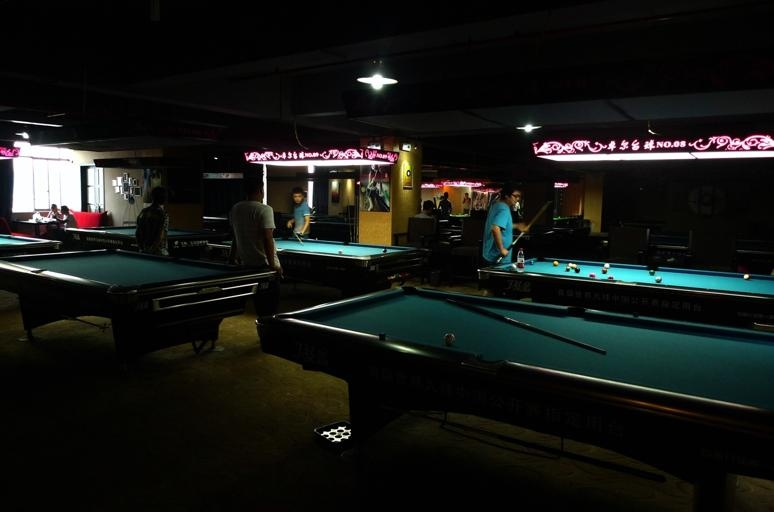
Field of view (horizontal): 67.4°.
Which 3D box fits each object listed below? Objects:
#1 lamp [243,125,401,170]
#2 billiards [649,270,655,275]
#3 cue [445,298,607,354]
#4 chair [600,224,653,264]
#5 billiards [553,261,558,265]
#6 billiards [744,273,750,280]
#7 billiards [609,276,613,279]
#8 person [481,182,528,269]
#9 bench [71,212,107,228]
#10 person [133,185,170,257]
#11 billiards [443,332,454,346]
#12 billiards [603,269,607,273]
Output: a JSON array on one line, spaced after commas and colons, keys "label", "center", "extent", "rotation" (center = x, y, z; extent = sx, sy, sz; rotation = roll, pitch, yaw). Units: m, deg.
[{"label": "lamp", "center": [-1.184, -1.841, 10.479], "extent": [2.510, 0.347, 1.341], "rotation": [-1, 13, -9]}, {"label": "billiards", "center": [3.155, 0.198, 6.936], "extent": [0.054, 0.044, 0.050], "rotation": [1, -6, -5]}, {"label": "cue", "center": [1.134, 0.576, 4.853], "extent": [1.500, 0.062, 0.065], "rotation": [18, 14, 34]}, {"label": "chair", "center": [4.126, -0.196, 9.952], "extent": [0.801, 0.690, 0.417], "rotation": [3, 7, 37]}, {"label": "billiards", "center": [2.156, 0.098, 7.437], "extent": [0.051, 0.047, 0.048], "rotation": [-18, 45, -5]}, {"label": "billiards", "center": [4.096, 0.243, 6.611], "extent": [0.074, 0.062, 0.051], "rotation": [10, -13, -42]}, {"label": "billiards", "center": [2.491, 0.240, 6.488], "extent": [0.045, 0.024, 0.043], "rotation": [-6, 5, -37]}, {"label": "person", "center": [1.590, -0.131, 8.050], "extent": [0.633, 1.644, 0.770], "rotation": [6, 9, 13]}, {"label": "bench", "center": [-7.735, -0.932, 15.029], "extent": [0.576, 0.370, 0.392], "rotation": [1, -10, -9]}, {"label": "person", "center": [-3.108, -0.351, 7.713], "extent": [0.480, 1.060, 0.349], "rotation": [19, 24, 26]}, {"label": "billiards", "center": [0.482, 0.658, 4.542], "extent": [0.087, 0.093, 0.085], "rotation": [-1, 5, 28]}, {"label": "billiards", "center": [2.627, 0.181, 7.034], "extent": [0.038, 0.028, 0.042], "rotation": [-4, 5, 28]}]
